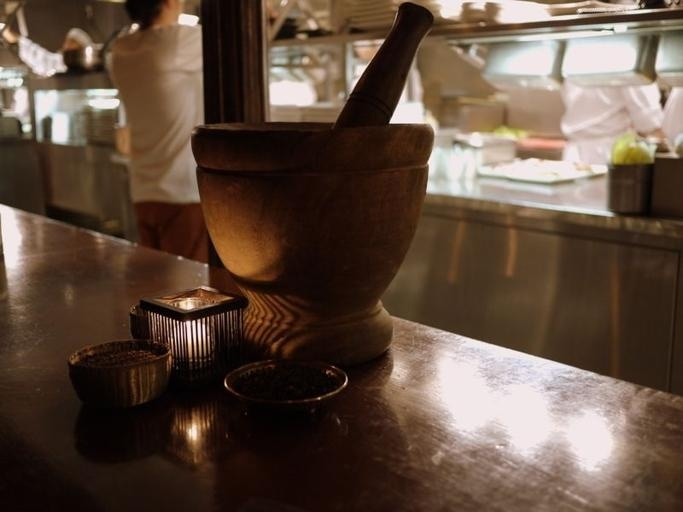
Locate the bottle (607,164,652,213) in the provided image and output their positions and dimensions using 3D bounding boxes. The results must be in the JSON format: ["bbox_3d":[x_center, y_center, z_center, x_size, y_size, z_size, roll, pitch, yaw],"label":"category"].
[{"bbox_3d":[1.067,-0.247,2.124,0.204,0.157,0.206,-4,10,1],"label":"bottle"}]

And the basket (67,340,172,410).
[{"bbox_3d":[-0.286,0.139,0.761,0.089,0.044,0.111,0,2,-7],"label":"basket"}]
